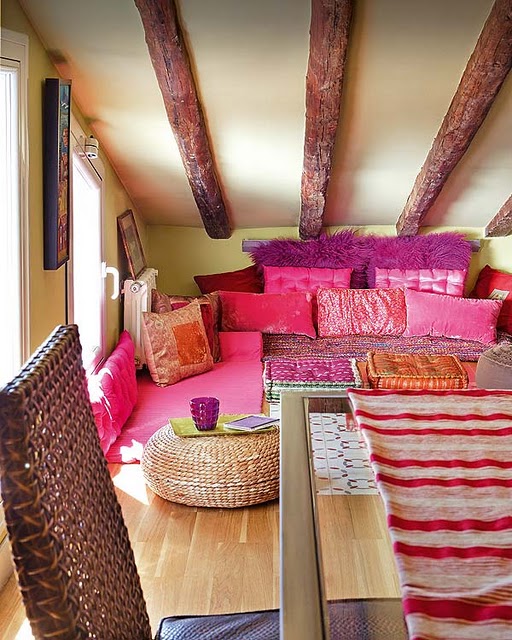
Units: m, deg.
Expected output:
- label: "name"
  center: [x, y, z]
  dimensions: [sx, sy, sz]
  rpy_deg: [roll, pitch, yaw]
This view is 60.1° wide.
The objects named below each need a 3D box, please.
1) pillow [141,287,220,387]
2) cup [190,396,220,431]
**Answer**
- label: "pillow"
  center: [-0.589, 0.156, 3.381]
  dimensions: [0.251, 0.505, 0.733]
  rpy_deg: [0, 11, 31]
- label: "cup"
  center: [-0.247, 0.493, 2.341]
  dimensions: [0.172, 0.171, 0.169]
  rpy_deg: [-1, -6, 0]
